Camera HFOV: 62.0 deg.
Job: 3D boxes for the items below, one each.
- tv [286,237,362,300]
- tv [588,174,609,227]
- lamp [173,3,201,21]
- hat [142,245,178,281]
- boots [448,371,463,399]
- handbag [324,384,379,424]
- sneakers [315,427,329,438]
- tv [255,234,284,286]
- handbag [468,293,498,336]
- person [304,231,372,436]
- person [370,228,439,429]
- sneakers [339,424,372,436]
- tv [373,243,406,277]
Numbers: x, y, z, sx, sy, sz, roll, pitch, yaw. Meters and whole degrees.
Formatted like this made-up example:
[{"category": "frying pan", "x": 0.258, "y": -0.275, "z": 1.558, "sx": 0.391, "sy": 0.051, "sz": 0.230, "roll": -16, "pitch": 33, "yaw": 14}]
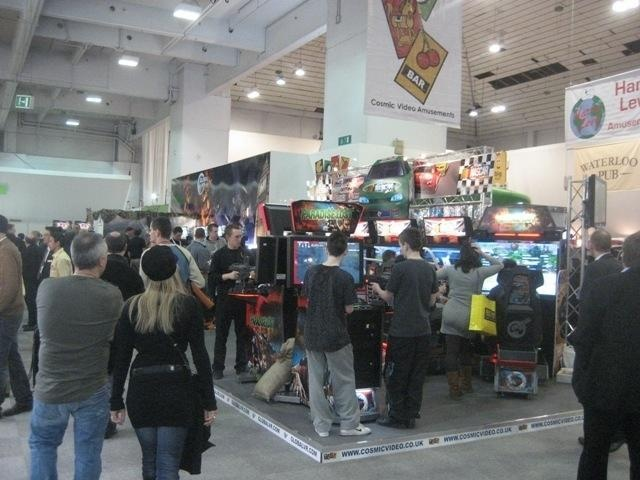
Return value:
[{"category": "tv", "x": -0.009, "y": 0.376, "z": 5.068, "sx": 0.795, "sy": 0.510, "sz": 0.432, "roll": 1, "pitch": -4, "yaw": -18}, {"category": "tv", "x": 3.399, "y": -0.467, "z": 6.546, "sx": 0.181, "sy": 0.687, "sz": 0.565, "roll": 2, "pitch": 1, "yaw": 34}, {"category": "lamp", "x": -2.725, "y": -4.566, "z": 10.730, "sx": 0.564, "sy": 0.200, "sz": 0.474, "roll": 0, "pitch": 2, "yaw": -44}, {"category": "hat", "x": -0.897, "y": 0.129, "z": 2.873, "sx": 0.183, "sy": 0.134, "sz": 0.161, "roll": 1, "pitch": 1, "yaw": -30}, {"category": "boots", "x": 1.466, "y": 1.515, "z": 5.765, "sx": 0.151, "sy": 0.277, "sz": 0.482, "roll": 2, "pitch": 1, "yaw": 16}, {"category": "handbag", "x": 0.249, "y": 1.486, "z": 4.920, "sx": 0.492, "sy": 0.423, "sz": 0.287, "roll": -3, "pitch": 2, "yaw": -16}, {"category": "sneakers", "x": -0.003, "y": 1.578, "z": 4.406, "sx": 0.128, "sy": 0.066, "sz": 0.161, "roll": 1, "pitch": 1, "yaw": 0}, {"category": "tv", "x": -0.516, "y": 0.197, "z": 5.167, "sx": 0.402, "sy": 0.440, "sz": 0.107, "roll": 1, "pitch": 3, "yaw": 6}, {"category": "handbag", "x": 1.664, "y": 0.782, "z": 5.483, "sx": 0.130, "sy": 0.371, "sz": 0.398, "roll": -9, "pitch": -19, "yaw": 39}, {"category": "person", "x": 0.109, "y": 0.786, "z": 4.418, "sx": 0.540, "sy": 1.417, "sz": 0.241, "roll": 1, "pitch": 1, "yaw": -1}, {"category": "person", "x": 0.760, "y": 0.773, "z": 4.783, "sx": 0.587, "sy": 1.607, "sz": 0.314, "roll": 1, "pitch": 1, "yaw": 2}, {"category": "sneakers", "x": 0.282, "y": 1.601, "z": 4.503, "sx": 0.267, "sy": 0.115, "sz": 0.100, "roll": 0, "pitch": -1, "yaw": -23}, {"category": "tv", "x": 0.792, "y": 0.256, "z": 6.232, "sx": 0.425, "sy": 0.204, "sz": 0.306, "roll": -3, "pitch": 4, "yaw": -29}]
